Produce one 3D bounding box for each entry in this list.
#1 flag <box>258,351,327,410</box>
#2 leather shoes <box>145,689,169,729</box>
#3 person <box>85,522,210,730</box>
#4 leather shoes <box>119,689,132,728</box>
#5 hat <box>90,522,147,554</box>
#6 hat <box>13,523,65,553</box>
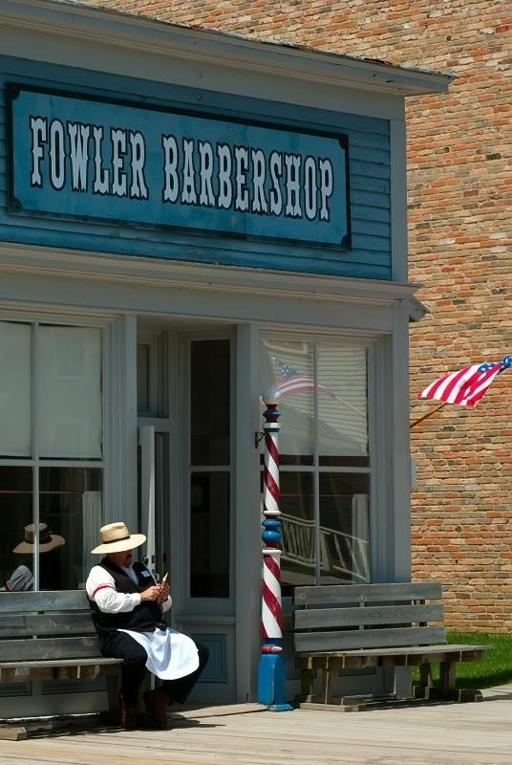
[{"bbox_3d":[0.260,-0.005,9.975,0.336,0.397,0.953,-3,-6,15],"label":"flag"},{"bbox_3d":[-0.604,1.950,8.554,0.115,0.286,0.100,-11,3,4],"label":"leather shoes"},{"bbox_3d":[-0.691,1.462,8.647,0.684,1.220,0.578,3,-7,-38],"label":"person"},{"bbox_3d":[-0.783,1.956,8.528,0.064,0.221,0.268,-1,-6,-6],"label":"leather shoes"},{"bbox_3d":[-0.848,0.960,8.749,0.233,0.108,0.243,-16,2,6],"label":"hat"},{"bbox_3d":[-1.360,0.987,8.851,0.184,0.074,0.199,-12,5,14],"label":"hat"}]
